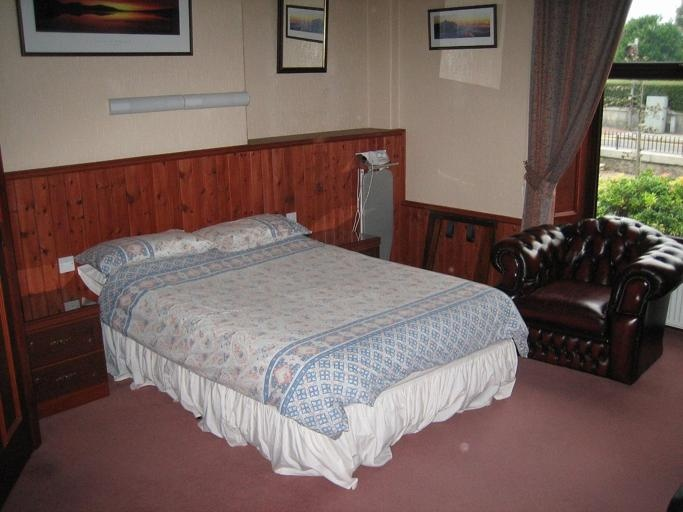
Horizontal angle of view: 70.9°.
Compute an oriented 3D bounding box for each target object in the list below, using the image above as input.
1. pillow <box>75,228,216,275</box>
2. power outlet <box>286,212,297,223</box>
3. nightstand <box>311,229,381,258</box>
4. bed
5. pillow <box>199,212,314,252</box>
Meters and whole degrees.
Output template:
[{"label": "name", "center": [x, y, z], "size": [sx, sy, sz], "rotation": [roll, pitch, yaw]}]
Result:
[{"label": "pillow", "center": [-1.618, -0.073, 3.984], "size": [0.734, 0.165, 0.445], "rotation": [-13, 22, -36]}, {"label": "power outlet", "center": [-0.528, -0.439, 5.117], "size": [0.031, 0.135, 0.134], "rotation": [-13, 0, 44]}, {"label": "nightstand", "center": [0.095, -0.164, 5.168], "size": [0.417, 0.290, 0.420], "rotation": [16, 24, 42]}, {"label": "bed", "center": [-0.513, 0.526, 3.331], "size": [2.082, 0.687, 1.701], "rotation": [12, 21, 41]}, {"label": "pillow", "center": [-0.830, -0.213, 4.421], "size": [0.676, 0.124, 0.417], "rotation": [-16, 28, -37]}]
